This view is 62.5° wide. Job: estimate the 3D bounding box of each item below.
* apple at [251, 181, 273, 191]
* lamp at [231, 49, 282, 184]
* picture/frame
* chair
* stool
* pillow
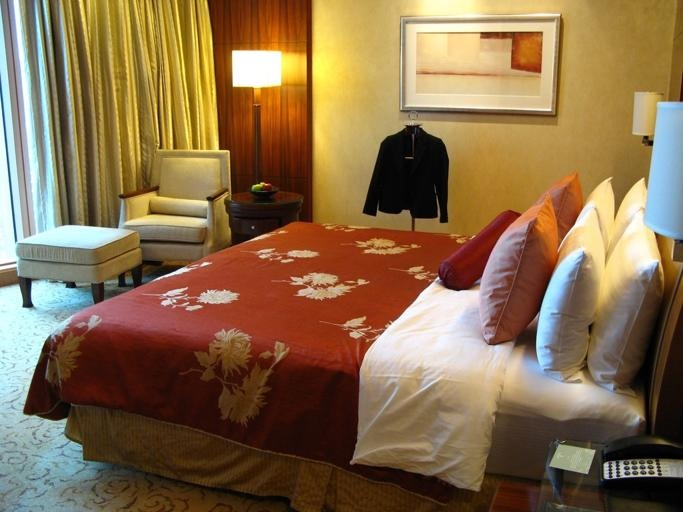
[{"bbox_3d":[-0.664,-0.576,4.784,0.119,0.083,0.166,-3,4,0],"label":"apple"},{"bbox_3d":[-0.749,-1.292,5.191,0.427,1.184,0.514,-2,16,-5],"label":"lamp"},{"bbox_3d":[1.155,-1.637,4.820,1.324,0.797,0.066,5,17,17],"label":"picture/frame"},{"bbox_3d":[-1.291,-0.449,4.914,0.864,1.310,0.980,2,12,4],"label":"chair"},{"bbox_3d":[-1.842,-0.037,4.009,0.628,0.494,0.650,4,15,10],"label":"stool"},{"bbox_3d":[0.821,0.164,2.024,0.291,0.820,0.786,12,7,3],"label":"pillow"}]
